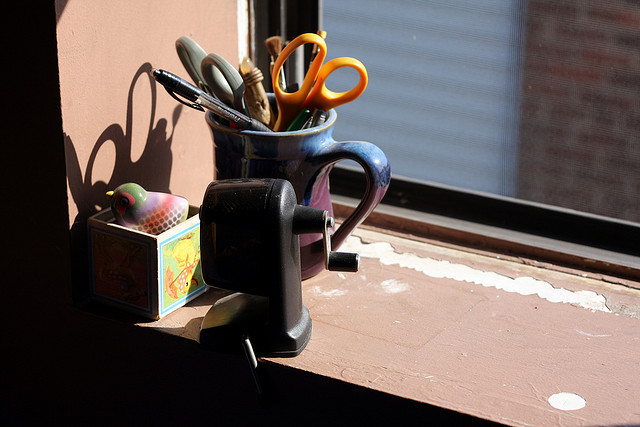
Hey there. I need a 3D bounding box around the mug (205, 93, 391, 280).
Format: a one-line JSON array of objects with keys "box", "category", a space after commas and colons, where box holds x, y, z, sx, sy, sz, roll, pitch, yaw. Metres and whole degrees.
[{"box": [-0.036, -0.033, 1.174, 0.326, 0.304, 0.214, 17, 29, 27], "category": "mug"}]

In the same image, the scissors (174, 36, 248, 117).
[{"box": [-0.164, -0.254, 1.136, 0.127, 0.032, 0.130, 23, -24, 53], "category": "scissors"}]

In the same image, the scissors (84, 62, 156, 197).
[{"box": [-0.335, -0.147, 1.139, 0.073, 0.214, 0.128, -5, 17, -19], "category": "scissors"}]

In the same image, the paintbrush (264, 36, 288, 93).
[{"box": [-0.082, -0.260, 1.160, 0.024, 0.099, 0.024, 0, -4, 19], "category": "paintbrush"}]

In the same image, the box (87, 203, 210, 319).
[{"box": [-0.293, 0.084, 1.172, 0.179, 0.186, 0.188, 14, 26, 27], "category": "box"}]

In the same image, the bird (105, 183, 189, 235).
[{"box": [-0.294, -0.004, 1.113, 0.128, 0.082, 0.081, 8, 9, -18], "category": "bird"}]

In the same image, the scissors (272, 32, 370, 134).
[{"box": [-0.018, -0.205, 1.155, 0.159, 0.219, 0.057, 20, 39, -5], "category": "scissors"}]

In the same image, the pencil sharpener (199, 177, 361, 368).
[{"box": [-0.096, 0.086, 1.028, 0.196, 0.289, 0.084, 15, 18, 12], "category": "pencil sharpener"}]
